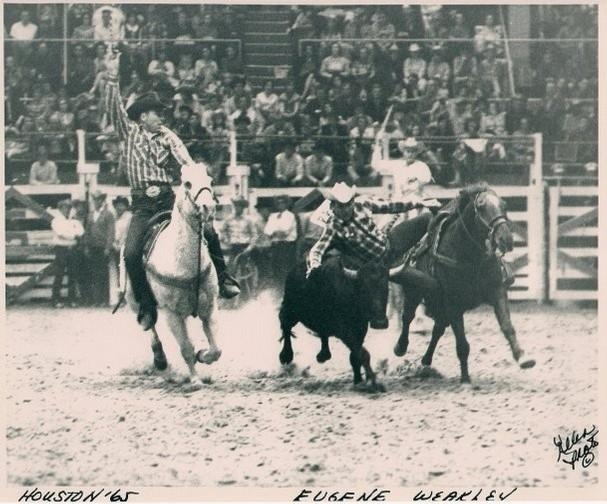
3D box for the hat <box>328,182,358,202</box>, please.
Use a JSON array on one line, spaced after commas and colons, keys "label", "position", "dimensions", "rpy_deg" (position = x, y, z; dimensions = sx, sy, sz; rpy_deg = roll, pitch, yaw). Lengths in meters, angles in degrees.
[{"label": "hat", "position": [0.583, -0.897, 14.559], "dimensions": [0.313, 0.321, 0.082], "rpy_deg": [0, -7, -2]}]
